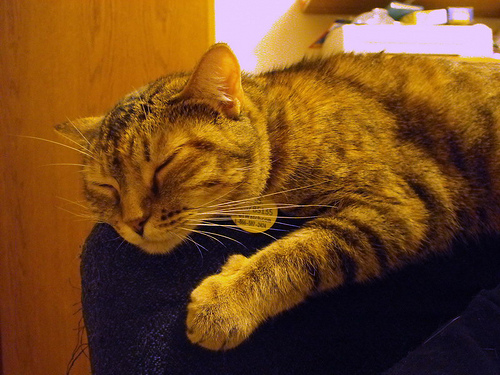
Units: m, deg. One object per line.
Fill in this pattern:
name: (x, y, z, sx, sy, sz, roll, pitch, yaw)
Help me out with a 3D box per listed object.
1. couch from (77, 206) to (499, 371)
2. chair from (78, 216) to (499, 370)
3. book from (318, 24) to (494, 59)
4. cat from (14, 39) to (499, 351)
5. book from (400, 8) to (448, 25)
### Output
couch: (0.107, 0.280, 1.288, 0.832, 0.283, 0.465, -1, -5, -2)
chair: (0.104, 0.281, 1.315, 1.057, 0.280, 0.314, 3, 30, 2)
book: (0.660, -0.591, 2.165, 0.299, 0.080, 0.325, -2, 6, 1)
cat: (0.146, -0.054, 1.389, 1.154, 0.440, 0.709, -28, 18, -33)
book: (0.772, -0.740, 2.322, 0.138, 0.049, 0.107, 0, 11, 8)
